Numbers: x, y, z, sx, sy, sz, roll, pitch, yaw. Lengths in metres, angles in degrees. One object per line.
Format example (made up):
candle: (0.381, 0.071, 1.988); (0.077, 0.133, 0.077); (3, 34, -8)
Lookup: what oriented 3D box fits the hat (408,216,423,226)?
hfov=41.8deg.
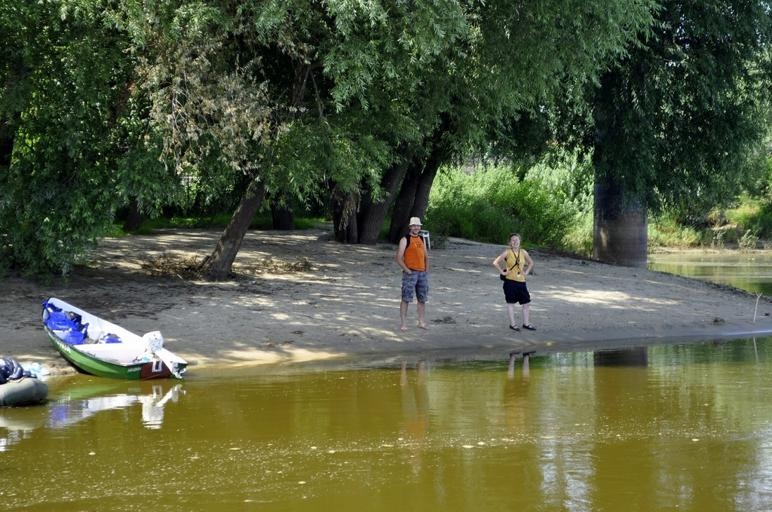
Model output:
hat: (0.632, -0.814, 22.273); (0.226, 0.128, 0.314); (0, -3, -3)

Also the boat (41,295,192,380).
boat: (-5.529, 2.002, 19.656); (3.740, 1.049, 1.339); (24, 14, 35)

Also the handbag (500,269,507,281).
handbag: (2.651, 0.422, 22.833); (0.174, 0.237, 0.242); (-1, -5, 5)

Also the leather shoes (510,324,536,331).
leather shoes: (3.106, 1.623, 22.961); (0.416, 0.115, 0.222); (-2, 0, 8)
